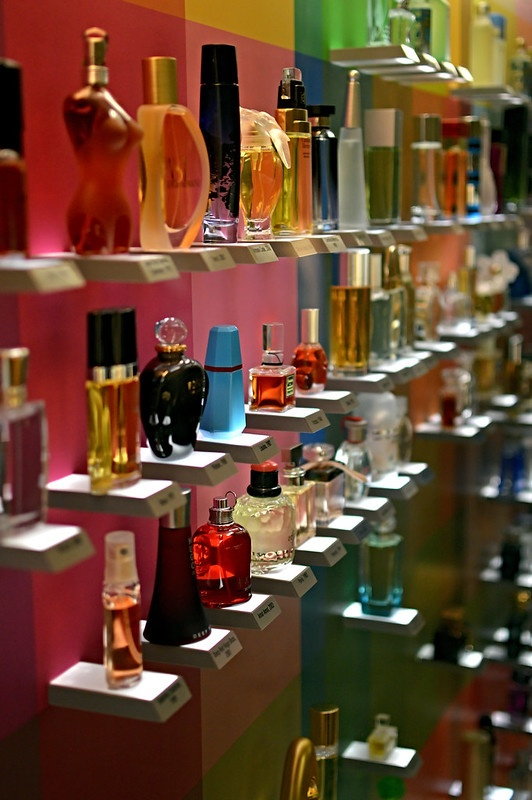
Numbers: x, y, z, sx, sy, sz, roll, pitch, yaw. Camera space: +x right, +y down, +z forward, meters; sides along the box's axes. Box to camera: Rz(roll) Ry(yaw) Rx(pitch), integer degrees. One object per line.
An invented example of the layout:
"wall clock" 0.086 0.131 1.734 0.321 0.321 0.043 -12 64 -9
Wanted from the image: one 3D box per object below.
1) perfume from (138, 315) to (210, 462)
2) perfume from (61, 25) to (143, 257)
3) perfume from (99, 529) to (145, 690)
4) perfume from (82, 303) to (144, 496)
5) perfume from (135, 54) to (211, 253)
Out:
"perfume" -0.088 -0.011 0.661 0.079 0.139 0.059 -5 6 -28
"perfume" -0.142 -0.213 0.571 0.062 0.184 0.138 -3 6 -16
"perfume" -0.135 0.184 0.613 0.034 0.147 0.108 -3 5 -12
"perfume" -0.125 0.001 0.559 0.049 0.152 0.045 -5 6 -32
"perfume" -0.084 -0.214 0.595 0.062 0.162 0.048 -3 5 -12
